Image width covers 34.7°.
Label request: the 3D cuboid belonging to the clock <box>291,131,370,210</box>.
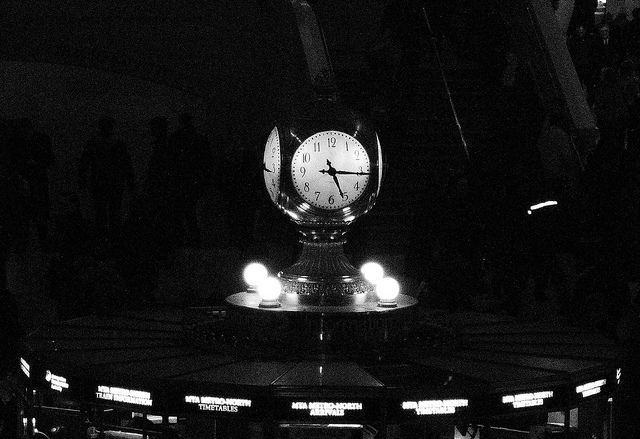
[{"bbox_3d":[0.060,-0.421,8.550,0.617,0.066,0.617,4,-82,-2],"label":"clock"}]
